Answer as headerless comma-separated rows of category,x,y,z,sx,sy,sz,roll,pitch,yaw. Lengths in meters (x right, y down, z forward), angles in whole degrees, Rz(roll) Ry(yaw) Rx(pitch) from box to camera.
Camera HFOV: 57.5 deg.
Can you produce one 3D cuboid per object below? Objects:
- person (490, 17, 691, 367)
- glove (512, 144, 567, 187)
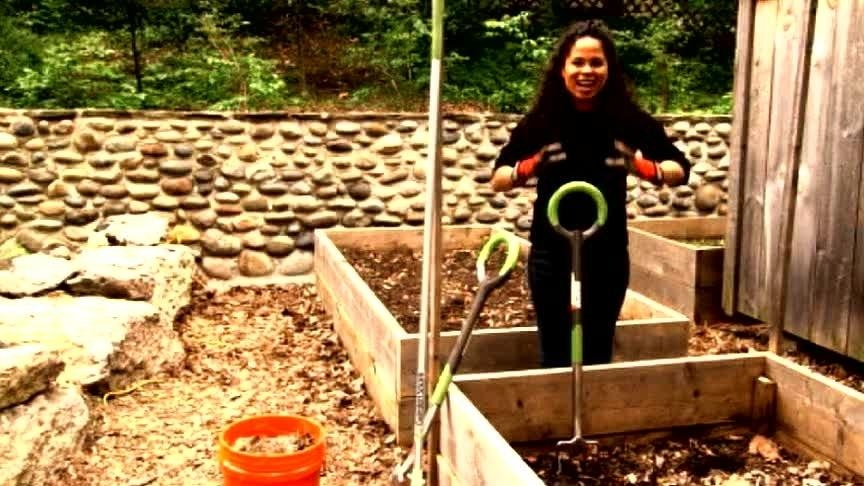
person,1.072,-0.324,5.605,1.260,2.452,0.491,-1,15,3
glove,0.729,-0.563,5.460,0.165,0.195,0.575,34,28,16
